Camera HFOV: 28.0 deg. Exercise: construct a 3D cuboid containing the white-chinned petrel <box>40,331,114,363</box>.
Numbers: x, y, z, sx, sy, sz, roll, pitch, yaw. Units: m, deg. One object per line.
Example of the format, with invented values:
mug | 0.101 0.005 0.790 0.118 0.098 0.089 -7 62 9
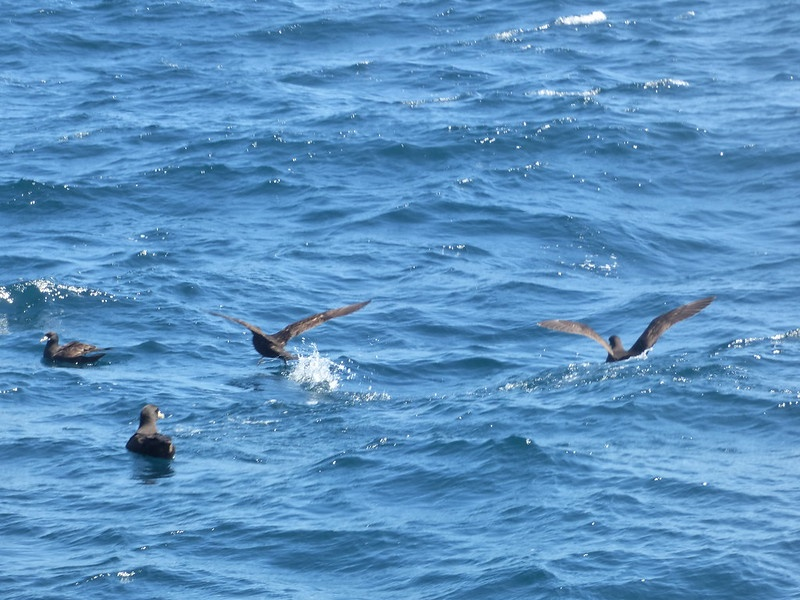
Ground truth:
white-chinned petrel | -8.154 1.216 40.414 1.713 0.723 0.774 4 90 3
